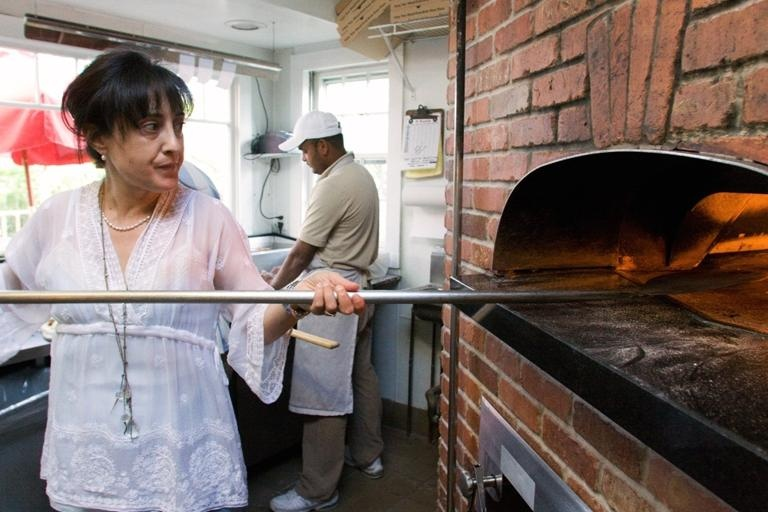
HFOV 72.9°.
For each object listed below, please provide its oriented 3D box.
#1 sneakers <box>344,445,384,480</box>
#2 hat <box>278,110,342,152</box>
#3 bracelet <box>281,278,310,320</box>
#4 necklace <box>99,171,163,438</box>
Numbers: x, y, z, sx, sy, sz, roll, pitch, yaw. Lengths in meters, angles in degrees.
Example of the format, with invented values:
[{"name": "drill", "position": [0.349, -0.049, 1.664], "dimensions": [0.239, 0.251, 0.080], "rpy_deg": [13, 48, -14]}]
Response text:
[{"name": "sneakers", "position": [-0.145, 1.216, 3.046], "dimensions": [0.277, 0.118, 0.102], "rpy_deg": [17, 18, 31]}, {"name": "hat", "position": [-0.418, -0.702, 2.941], "dimensions": [0.325, 0.169, 0.202], "rpy_deg": [-5, 16, 3]}, {"name": "bracelet", "position": [-0.246, 0.129, 1.513], "dimensions": [0.131, 0.099, 0.048], "rpy_deg": [-7, 9, -21]}, {"name": "necklace", "position": [-0.718, 0.144, 1.453], "dimensions": [0.084, 0.720, 0.063], "rpy_deg": [-3, 6, -8]}]
